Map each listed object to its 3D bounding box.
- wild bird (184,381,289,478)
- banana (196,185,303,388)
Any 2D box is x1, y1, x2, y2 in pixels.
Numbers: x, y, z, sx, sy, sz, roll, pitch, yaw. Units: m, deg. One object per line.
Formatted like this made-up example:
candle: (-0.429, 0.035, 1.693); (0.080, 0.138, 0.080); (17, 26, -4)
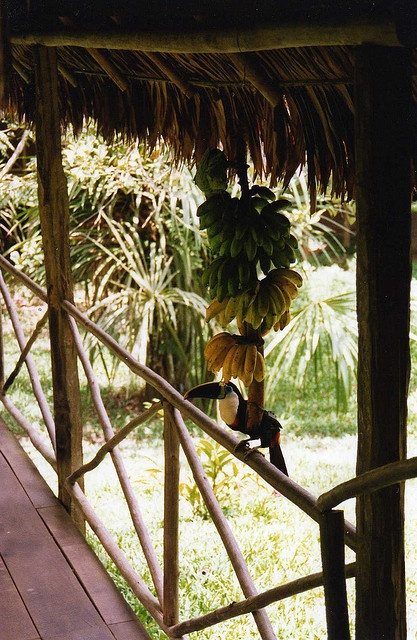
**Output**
wild bird: (0.053, 0.225, 1.590); (0.210, 0.205, 0.075); (-1, 12, 5)
banana: (0.088, -0.070, 1.548); (0.211, 0.380, 0.218); (-2, 12, -2)
